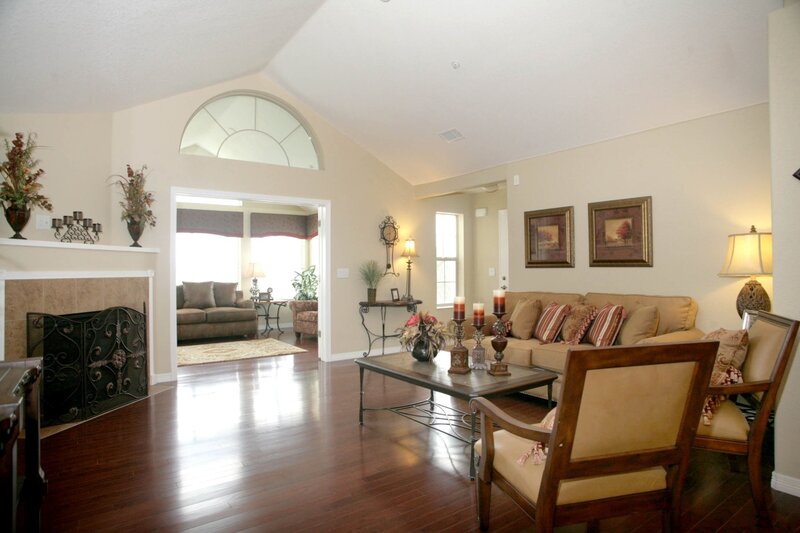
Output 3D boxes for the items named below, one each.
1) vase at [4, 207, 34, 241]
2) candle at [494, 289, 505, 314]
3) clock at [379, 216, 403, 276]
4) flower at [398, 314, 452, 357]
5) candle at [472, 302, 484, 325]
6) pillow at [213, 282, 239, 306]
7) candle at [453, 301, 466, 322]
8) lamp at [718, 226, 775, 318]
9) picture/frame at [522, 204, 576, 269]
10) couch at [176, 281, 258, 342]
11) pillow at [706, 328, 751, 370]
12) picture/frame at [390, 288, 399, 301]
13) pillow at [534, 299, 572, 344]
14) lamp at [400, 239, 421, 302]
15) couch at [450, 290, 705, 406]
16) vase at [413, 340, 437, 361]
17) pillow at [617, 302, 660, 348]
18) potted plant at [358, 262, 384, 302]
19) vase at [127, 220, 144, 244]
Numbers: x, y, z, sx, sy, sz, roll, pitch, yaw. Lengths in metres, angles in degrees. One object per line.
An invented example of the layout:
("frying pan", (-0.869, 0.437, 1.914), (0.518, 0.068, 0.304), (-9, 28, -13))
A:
("vase", (-3.827, -0.448, 5.262), (0.149, 0.314, 0.223), (0, 12, 1))
("candle", (0.866, 0.315, 4.631), (0.084, 0.212, 0.140), (0, 12, 5))
("clock", (-0.158, -0.343, 8.427), (0.378, 0.937, 0.177), (-12, 17, -42))
("flower", (0.231, 0.690, 5.281), (0.448, 0.417, 0.441), (5, -8, -22))
("candle", (0.697, 0.428, 4.698), (0.090, 0.192, 0.161), (1, 12, 6))
("pillow", (-3.381, 0.547, 10.178), (0.419, 0.406, 0.149), (4, -30, -24))
("candle", (0.524, 0.398, 4.720), (0.080, 0.207, 0.098), (-2, 12, -5))
("lamp", (3.507, 0.114, 5.242), (0.583, 0.982, 0.586), (0, -1, 22))
("picture/frame", (1.946, -0.397, 6.816), (0.075, 0.976, 0.873), (3, -2, -42))
("couch", (-3.620, 0.865, 9.932), (1.584, 1.105, 1.048), (-1, 0, -30))
("pillow", (2.421, 0.622, 3.877), (0.087, 0.236, 0.234), (35, -19, -14))
("picture/frame", (-0.103, 0.454, 8.363), (0.185, 0.209, 0.022), (2, -9, -30))
("pillow", (1.706, 0.637, 5.980), (0.122, 0.399, 0.404), (27, -9, -11))
("lamp", (0.140, 0.065, 8.601), (0.359, 1.042, 0.343), (2, -5, -14))
("couch", (1.878, 0.903, 6.051), (1.173, 1.176, 2.674), (3, -2, -35))
("vase", (0.244, 0.800, 5.104), (0.214, 0.289, 0.215), (-2, -1, 3))
("pillow", (2.457, 0.636, 5.533), (0.256, 0.398, 0.459), (6, -7, -19))
("potted plant", (-0.446, 0.220, 8.166), (0.303, 0.585, 0.449), (1, 12, 8))
("vase", (-3.219, -0.420, 6.463), (0.204, 0.319, 0.220), (-8, 14, -29))
